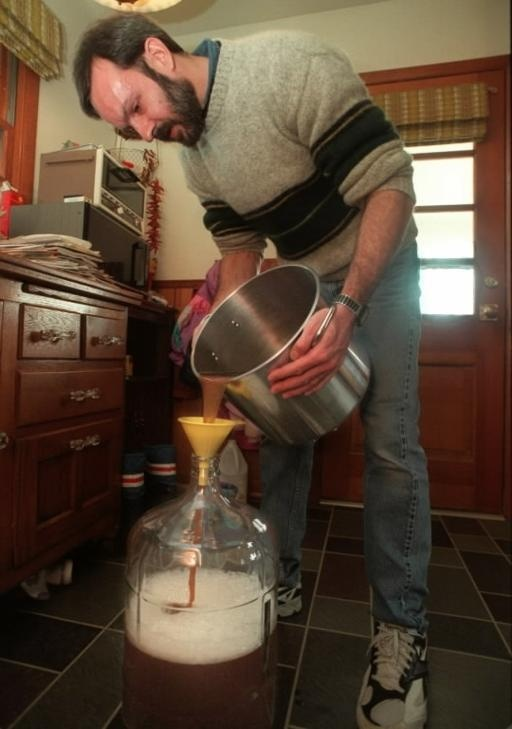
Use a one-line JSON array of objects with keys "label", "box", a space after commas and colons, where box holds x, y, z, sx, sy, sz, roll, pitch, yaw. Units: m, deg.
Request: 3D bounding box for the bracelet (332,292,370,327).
[{"label": "bracelet", "box": [0.165, -0.094, 1.006, 0.064, 0.042, 0.064, 40, -8, -21]}]

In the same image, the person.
[{"label": "person", "box": [-0.067, -0.209, 2.200, 1.157, 2.605, 1.111, -12, 9, -26]}]

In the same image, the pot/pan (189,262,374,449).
[{"label": "pot/pan", "box": [0.040, -0.034, 1.122, 0.263, 0.364, 0.285, 37, -45, -25]}]

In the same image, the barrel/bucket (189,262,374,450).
[{"label": "barrel/bucket", "box": [0.046, -0.018, 1.006, 0.260, 0.328, 0.290, 2, 2, 25]}]
